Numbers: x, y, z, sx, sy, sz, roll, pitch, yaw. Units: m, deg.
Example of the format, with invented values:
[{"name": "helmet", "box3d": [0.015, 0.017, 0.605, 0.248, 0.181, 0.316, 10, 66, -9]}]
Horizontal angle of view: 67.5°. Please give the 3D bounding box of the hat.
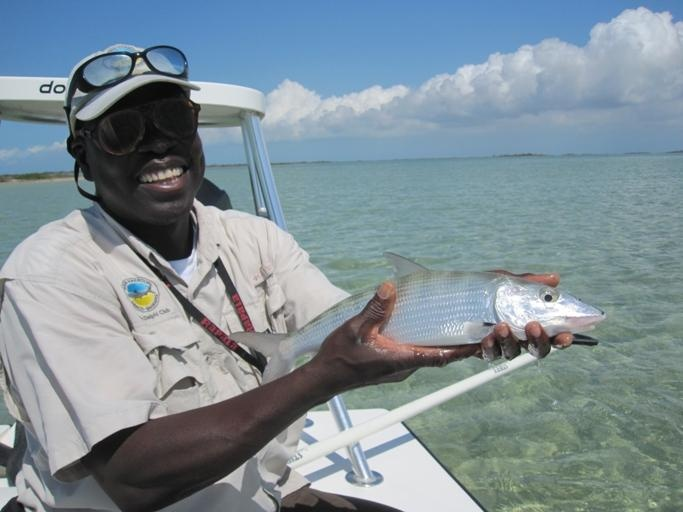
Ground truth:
[{"name": "hat", "box3d": [-1.020, -0.807, 2.472, 0.518, 0.160, 0.549, -22, 3, -27]}]
